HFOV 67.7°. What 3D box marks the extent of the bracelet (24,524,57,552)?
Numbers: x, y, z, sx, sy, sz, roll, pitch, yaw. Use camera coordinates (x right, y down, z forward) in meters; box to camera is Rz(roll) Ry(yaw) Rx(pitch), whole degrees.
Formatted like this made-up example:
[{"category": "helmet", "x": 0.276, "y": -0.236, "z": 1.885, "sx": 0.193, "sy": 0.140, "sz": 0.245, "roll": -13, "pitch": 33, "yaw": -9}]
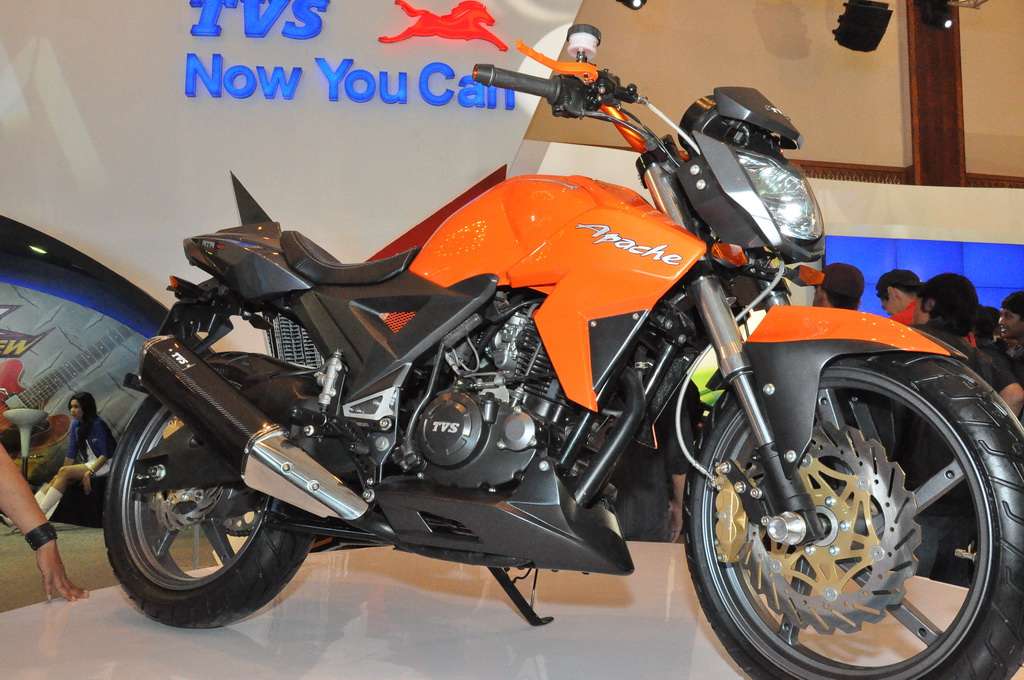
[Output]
[{"category": "bracelet", "x": -1.832, "y": 0.759, "z": 2.946, "sx": 0.093, "sy": 0.115, "sz": 0.100, "roll": -4, "pitch": 7, "yaw": -28}]
